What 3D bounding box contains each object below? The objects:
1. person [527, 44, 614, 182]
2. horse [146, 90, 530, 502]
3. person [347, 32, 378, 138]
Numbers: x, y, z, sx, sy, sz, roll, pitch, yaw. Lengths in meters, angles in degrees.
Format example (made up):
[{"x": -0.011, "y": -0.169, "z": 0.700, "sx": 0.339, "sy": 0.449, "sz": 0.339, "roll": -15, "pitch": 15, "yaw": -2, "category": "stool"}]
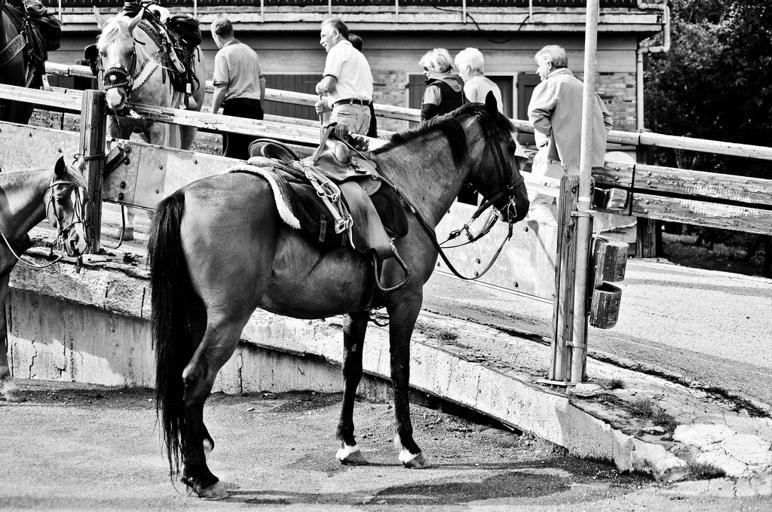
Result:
[{"x": 2.266, "y": -1.816, "z": 15.496, "sx": 0.971, "sy": 1.612, "sz": 1.903, "roll": 0, "pitch": 12, "yaw": 7, "category": "person"}, {"x": -0.510, "y": 0.611, "z": 13.553, "sx": 3.845, "sy": 3.996, "sz": 1.318, "roll": -1, "pitch": 1, "yaw": -31, "category": "horse"}, {"x": -0.292, "y": -2.255, "z": 16.707, "sx": 0.482, "sy": 0.517, "sz": 2.000, "roll": 6, "pitch": -31, "yaw": -2, "category": "person"}]
